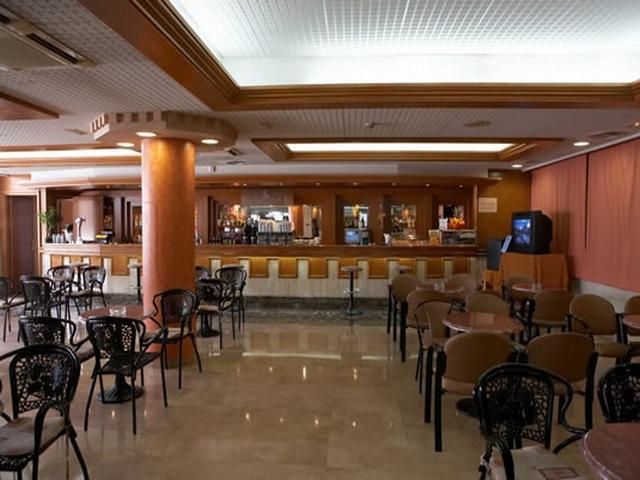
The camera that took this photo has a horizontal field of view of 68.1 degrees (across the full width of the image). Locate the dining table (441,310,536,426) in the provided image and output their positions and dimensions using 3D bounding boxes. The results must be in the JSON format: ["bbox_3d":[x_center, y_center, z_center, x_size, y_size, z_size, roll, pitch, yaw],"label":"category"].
[{"bbox_3d":[1.787,1.387,5.477,1.104,1.075,1.070,1,2,17],"label":"dining table"}]

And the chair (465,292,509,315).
[{"bbox_3d":[2.175,0.820,6.238,0.360,0.441,0.345,0,-4,-2],"label":"chair"}]

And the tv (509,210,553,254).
[{"bbox_3d":[4.317,-0.119,9.673,0.581,0.842,0.963,-1,2,-9],"label":"tv"}]

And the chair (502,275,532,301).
[{"bbox_3d":[3.575,0.888,8.458,0.493,0.580,0.518,1,7,18],"label":"chair"}]

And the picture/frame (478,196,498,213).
[{"bbox_3d":[4.198,-0.890,11.779,0.465,0.361,0.066,0,0,7],"label":"picture/frame"}]

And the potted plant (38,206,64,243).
[{"bbox_3d":[-7.492,-0.434,13.202,0.521,0.999,1.334,-2,3,-28],"label":"potted plant"}]

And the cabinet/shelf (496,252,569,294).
[{"bbox_3d":[4.292,0.564,9.619,1.254,0.758,0.923,-2,7,-22],"label":"cabinet/shelf"}]

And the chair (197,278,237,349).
[{"bbox_3d":[-1.771,1.152,8.220,0.611,1.065,1.711,-1,2,-10],"label":"chair"}]
